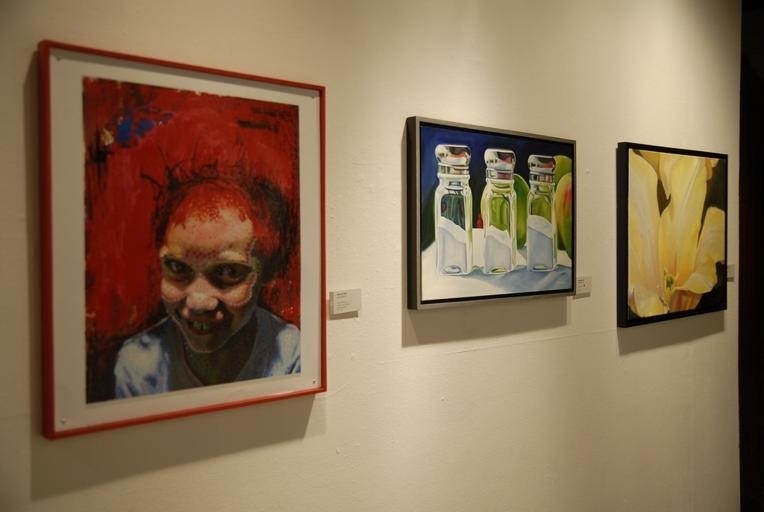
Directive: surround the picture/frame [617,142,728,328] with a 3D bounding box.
[{"bbox_3d":[1.555,-0.114,3.054,0.891,0.899,0.040,-3,1,-31],"label":"picture/frame"}]
